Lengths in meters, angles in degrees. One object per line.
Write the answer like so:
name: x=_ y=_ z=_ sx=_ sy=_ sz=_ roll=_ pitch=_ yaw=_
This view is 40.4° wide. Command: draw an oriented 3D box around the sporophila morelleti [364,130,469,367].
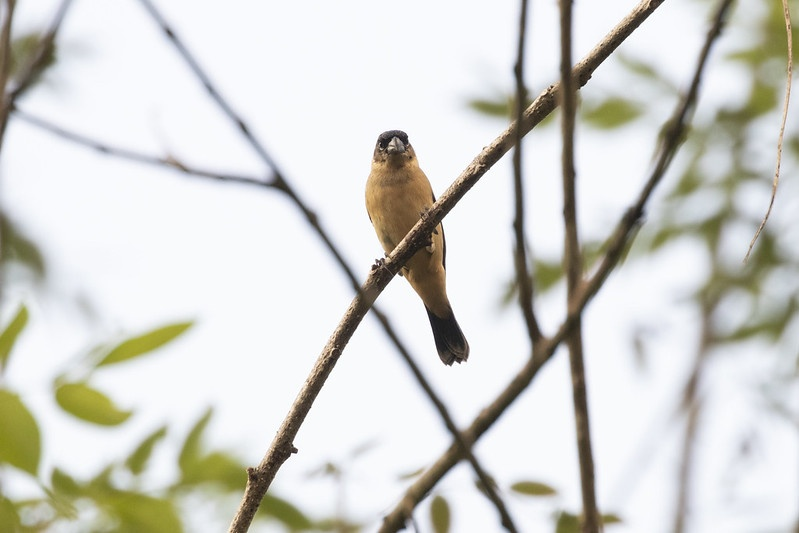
sporophila morelleti: x=0.061 y=-0.180 z=5.935 sx=0.336 sy=0.578 sz=1.427 roll=-13 pitch=-75 yaw=6
